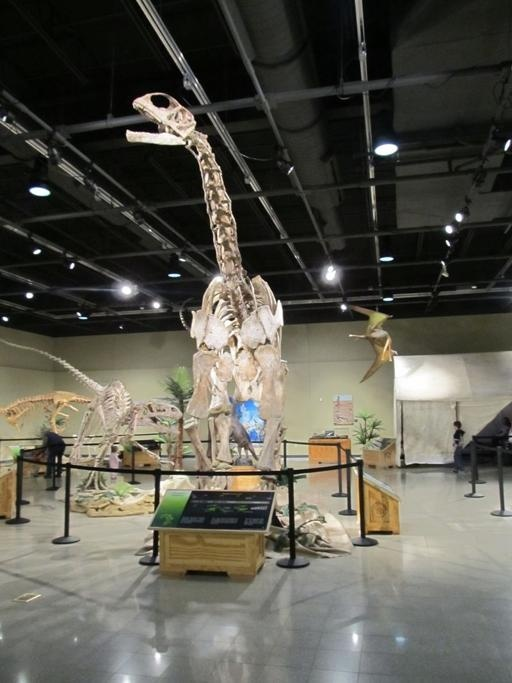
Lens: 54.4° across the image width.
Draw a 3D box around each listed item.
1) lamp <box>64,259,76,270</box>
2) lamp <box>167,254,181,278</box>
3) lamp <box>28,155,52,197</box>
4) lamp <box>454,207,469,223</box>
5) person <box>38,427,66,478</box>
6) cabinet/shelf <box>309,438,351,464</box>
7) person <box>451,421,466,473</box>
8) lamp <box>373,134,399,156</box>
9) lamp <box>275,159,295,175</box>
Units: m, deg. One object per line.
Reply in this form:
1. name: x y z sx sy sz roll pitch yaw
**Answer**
1. lamp: -3.232 -1.345 8.632 0.122 0.181 0.380 4 -9 -15
2. lamp: -1.422 -1.348 8.631 0.205 0.361 0.349 4 -10 -11
3. lamp: -2.410 -1.857 5.545 0.207 0.429 0.256 6 -11 -23
4. lamp: 2.794 -1.767 6.767 0.178 0.270 0.346 -2 -10 21
5. person: -4.401 2.501 10.593 0.498 1.304 0.536 13 -37 -33
6. cabinet/shelf: 1.721 2.654 11.707 0.965 0.699 2.723 1 -9 7
7. person: 4.708 2.429 11.555 0.210 1.118 0.836 -2 -10 22
8. lamp: 1.305 -1.976 5.013 0.212 0.114 0.208 0 -9 7
9. lamp: 0.330 -1.955 5.558 0.142 0.117 0.270 -1 -9 15
